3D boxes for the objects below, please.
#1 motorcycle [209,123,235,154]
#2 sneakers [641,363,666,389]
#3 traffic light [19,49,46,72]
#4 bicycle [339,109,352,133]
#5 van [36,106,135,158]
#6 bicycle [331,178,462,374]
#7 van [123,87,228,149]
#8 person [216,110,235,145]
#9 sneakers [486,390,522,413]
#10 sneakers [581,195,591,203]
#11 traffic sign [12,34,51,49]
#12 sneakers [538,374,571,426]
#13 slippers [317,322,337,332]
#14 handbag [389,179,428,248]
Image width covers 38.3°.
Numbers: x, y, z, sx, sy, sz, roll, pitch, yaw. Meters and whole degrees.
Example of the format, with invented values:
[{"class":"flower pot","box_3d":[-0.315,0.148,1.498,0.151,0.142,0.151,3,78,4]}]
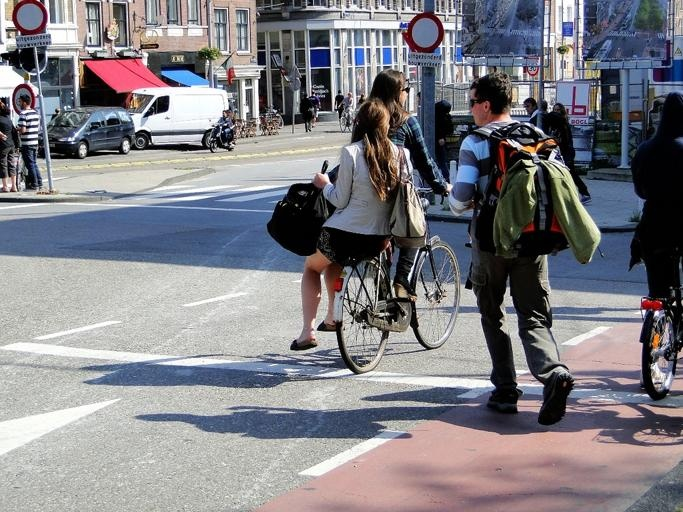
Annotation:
[{"class":"motorcycle","box_3d":[-4.443,-4.402,36.286,1.098,1.029,0.887,-5,11,-22]},{"class":"sneakers","box_3d":[2.185,0.825,6.917,0.165,0.215,0.052,3,0,-29]},{"class":"traffic light","box_3d":[-6.046,-3.860,19.279,0.497,0.457,0.980,-4,11,-17]},{"class":"bicycle","box_3d":[0.302,-7.386,53.587,0.891,1.087,1.836,1,6,7]},{"class":"van","box_3d":[-8.761,-4.236,33.759,1.628,1.204,2.796,3,6,27]},{"class":"bicycle","box_3d":[0.525,0.303,8.034,0.815,0.981,1.661,7,22,32]},{"class":"van","box_3d":[-6.328,-5.497,38.597,1.960,1.802,4.054,3,4,42]},{"class":"person","box_3d":[-4.442,-4.801,36.627,0.794,0.882,1.379,0,4,7]},{"class":"sneakers","box_3d":[1.104,1.001,6.781,0.104,0.165,0.249,-7,17,-38]},{"class":"sneakers","box_3d":[4.369,-1.012,17.719,0.176,0.214,0.520,-3,2,12]},{"class":"traffic sign","box_3d":[-5.892,-4.119,18.817,0.609,0.277,0.787,-4,11,-20]},{"class":"sneakers","box_3d":[1.335,0.885,6.281,0.154,0.381,0.178,13,-1,-24]},{"class":"slippers","box_3d":[-0.122,0.577,8.093,0.154,0.053,0.081,3,4,28]},{"class":"handbag","box_3d":[0.495,-0.354,7.598,0.280,0.488,0.537,-4,15,1]}]
